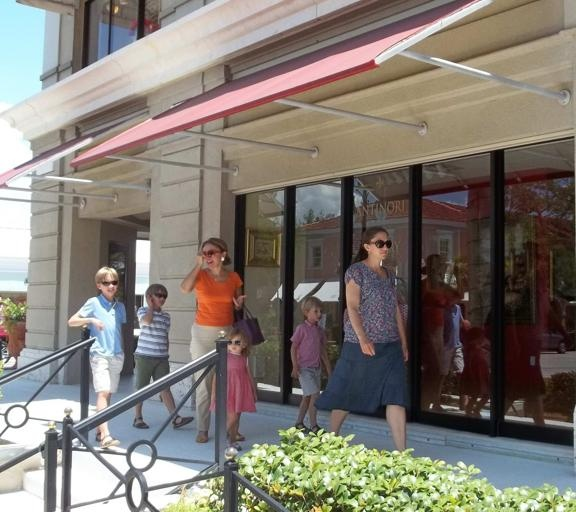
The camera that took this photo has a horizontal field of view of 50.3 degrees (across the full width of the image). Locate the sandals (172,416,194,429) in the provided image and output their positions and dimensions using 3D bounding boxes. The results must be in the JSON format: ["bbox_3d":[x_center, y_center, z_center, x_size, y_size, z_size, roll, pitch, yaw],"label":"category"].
[{"bbox_3d":[-1.234,1.921,7.132,0.108,0.090,0.209,-6,7,45],"label":"sandals"}]

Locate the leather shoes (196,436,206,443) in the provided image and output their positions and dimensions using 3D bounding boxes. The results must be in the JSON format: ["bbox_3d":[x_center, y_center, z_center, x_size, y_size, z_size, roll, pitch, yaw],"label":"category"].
[{"bbox_3d":[-0.906,1.902,6.348,0.064,0.049,0.115,1,0,-8],"label":"leather shoes"}]

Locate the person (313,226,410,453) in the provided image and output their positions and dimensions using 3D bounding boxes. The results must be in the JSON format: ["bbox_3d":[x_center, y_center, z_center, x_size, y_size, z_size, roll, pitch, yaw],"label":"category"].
[{"bbox_3d":[0.662,0.690,5.303,0.905,1.844,0.674,-1,1,34],"label":"person"}]

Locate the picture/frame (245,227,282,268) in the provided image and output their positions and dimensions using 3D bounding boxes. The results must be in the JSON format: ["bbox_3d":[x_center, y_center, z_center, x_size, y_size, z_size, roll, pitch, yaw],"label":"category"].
[{"bbox_3d":[-0.324,-0.125,8.499,0.528,0.571,0.041,0,-2,41],"label":"picture/frame"}]

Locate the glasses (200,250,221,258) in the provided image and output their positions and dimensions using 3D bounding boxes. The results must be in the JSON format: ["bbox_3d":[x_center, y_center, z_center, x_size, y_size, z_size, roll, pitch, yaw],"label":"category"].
[{"bbox_3d":[-0.785,-0.027,6.225,0.174,0.076,0.034,-5,8,-4],"label":"glasses"}]

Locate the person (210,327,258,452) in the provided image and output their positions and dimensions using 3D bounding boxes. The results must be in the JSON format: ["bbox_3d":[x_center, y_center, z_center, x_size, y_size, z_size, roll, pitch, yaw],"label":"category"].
[{"bbox_3d":[-0.491,1.305,6.024,0.297,1.116,0.408,-5,8,-6],"label":"person"}]

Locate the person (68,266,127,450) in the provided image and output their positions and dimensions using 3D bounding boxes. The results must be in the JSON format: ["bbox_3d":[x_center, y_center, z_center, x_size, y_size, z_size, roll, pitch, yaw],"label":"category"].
[{"bbox_3d":[-1.940,1.108,6.406,0.517,1.896,0.949,-6,8,-14],"label":"person"}]

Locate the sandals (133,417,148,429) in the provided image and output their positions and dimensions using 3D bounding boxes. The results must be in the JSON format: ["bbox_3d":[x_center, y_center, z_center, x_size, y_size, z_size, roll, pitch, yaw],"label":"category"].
[{"bbox_3d":[-1.725,1.950,7.153,0.094,0.080,0.190,2,-5,-39],"label":"sandals"}]
